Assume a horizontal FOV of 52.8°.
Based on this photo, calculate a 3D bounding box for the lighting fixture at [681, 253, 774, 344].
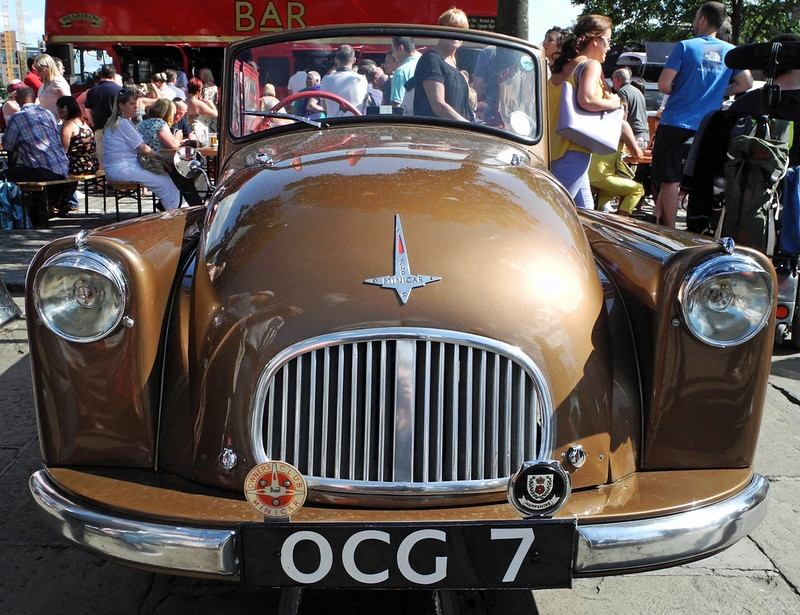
[{"bbox_3d":[1.082,-0.027,2.672,0.220,0.274,0.135,-2,8,-1],"label":"lighting fixture"}]

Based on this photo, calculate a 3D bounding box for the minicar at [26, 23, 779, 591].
[{"bbox_3d":[0.099,-0.232,3.222,2.494,1.570,2.332,5,21,9],"label":"minicar"}]
